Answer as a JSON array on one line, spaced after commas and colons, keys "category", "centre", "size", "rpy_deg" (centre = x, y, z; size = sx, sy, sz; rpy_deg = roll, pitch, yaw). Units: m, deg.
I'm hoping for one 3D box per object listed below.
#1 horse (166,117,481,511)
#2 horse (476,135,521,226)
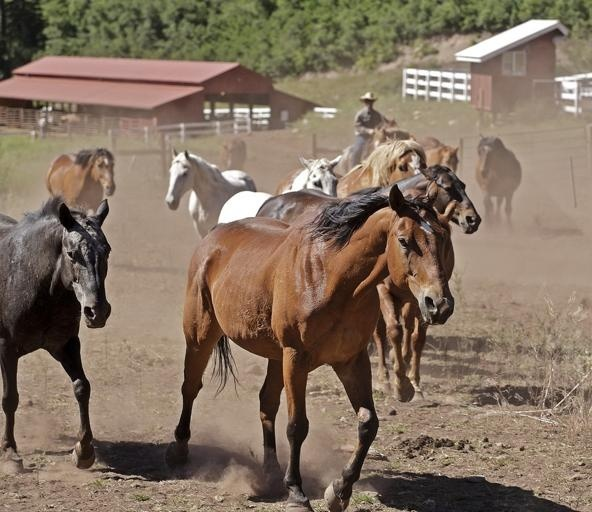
[{"category": "horse", "centre": [0.212, 1.102, 15.327], "size": [3.743, 4.191, 1.240], "rpy_deg": [6, 8, 33]}, {"category": "horse", "centre": [4.632, -1.794, 27.317], "size": [0.905, 1.890, 1.448], "rpy_deg": [-3, 8, -33]}]
